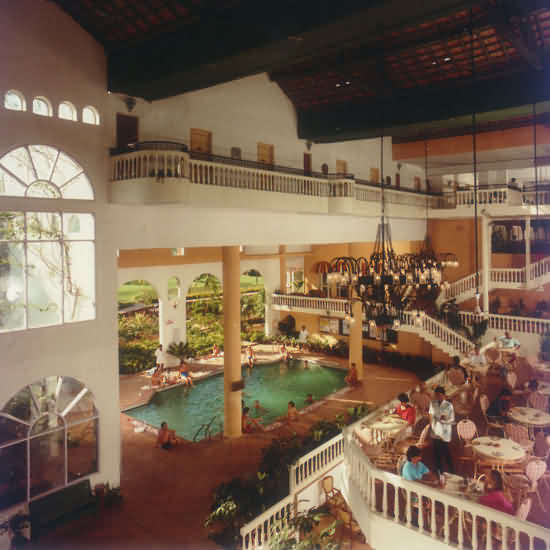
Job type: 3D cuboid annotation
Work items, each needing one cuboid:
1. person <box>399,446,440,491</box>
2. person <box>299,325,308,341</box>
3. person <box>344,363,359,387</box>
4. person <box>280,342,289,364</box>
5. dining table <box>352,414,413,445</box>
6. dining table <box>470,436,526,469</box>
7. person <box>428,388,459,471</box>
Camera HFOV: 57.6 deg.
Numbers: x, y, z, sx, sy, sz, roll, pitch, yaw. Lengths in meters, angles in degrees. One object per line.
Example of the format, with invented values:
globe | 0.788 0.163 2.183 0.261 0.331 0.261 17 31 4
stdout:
person | 2.368 3.258 8.423 0.800 0.782 0.397 -2 -5 -32
person | 1.434 3.003 25.487 0.382 0.847 1.698 -5 -5 4
person | 2.972 3.897 19.550 0.494 0.888 0.482 -5 -5 9
person | 0.396 3.637 23.201 0.242 0.941 0.437 0 2 8
dining table | 2.390 3.465 11.118 0.747 0.241 0.873 -2 6 27
dining table | 4.076 3.216 9.103 0.661 0.244 0.703 2 11 33
person | 3.374 3.129 10.119 0.497 1.779 1.891 -6 -5 16
